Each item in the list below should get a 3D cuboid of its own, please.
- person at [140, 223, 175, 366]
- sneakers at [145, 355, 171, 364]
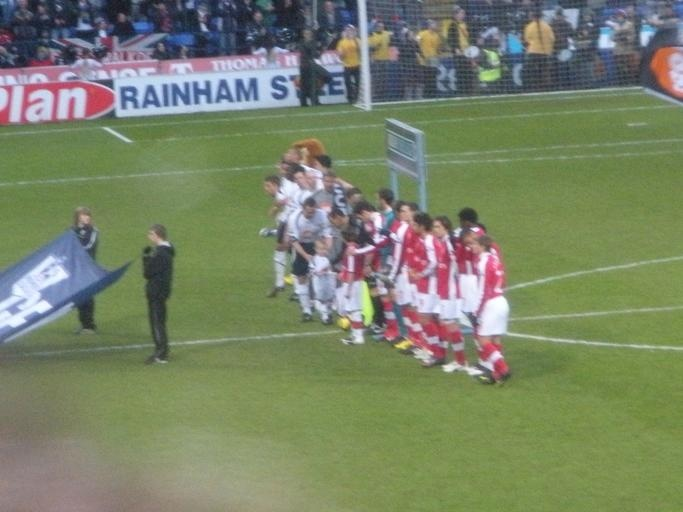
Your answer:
[{"bbox_3d":[-2.443,0.537,16.780,0.509,1.947,0.460,-6,17,-7],"label":"person"},{"bbox_3d":[-2.507,1.424,17.110,0.348,0.183,0.111,5,-1,-3],"label":"sneakers"}]
